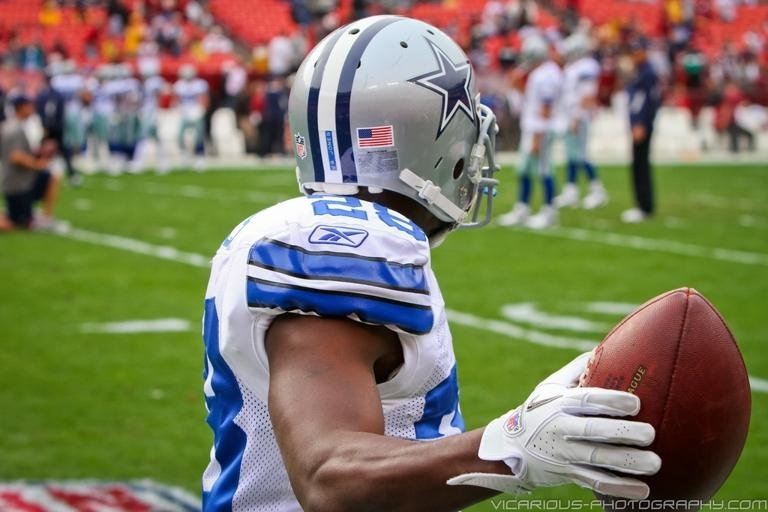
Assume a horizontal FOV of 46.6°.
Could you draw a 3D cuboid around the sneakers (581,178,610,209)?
[{"bbox_3d":[2.419,-0.697,10.114,0.197,0.360,0.236,14,15,9],"label":"sneakers"}]
